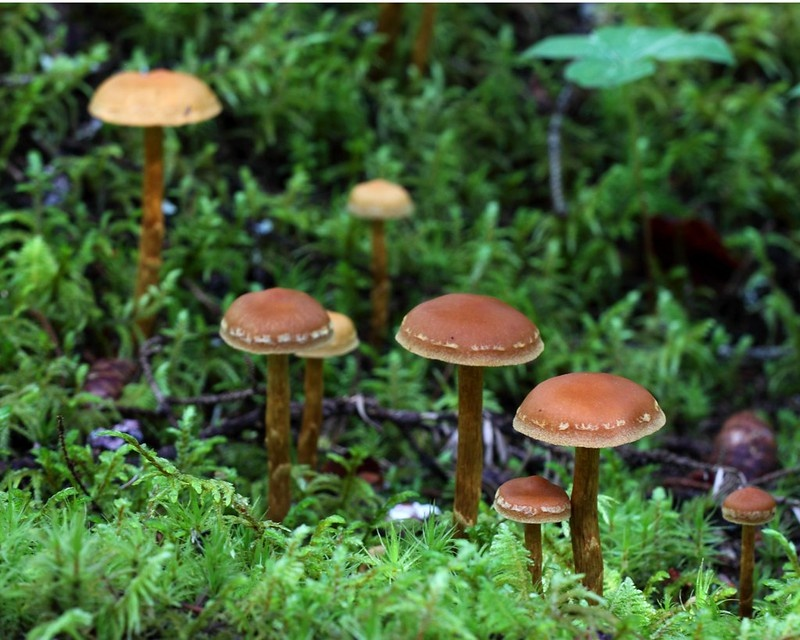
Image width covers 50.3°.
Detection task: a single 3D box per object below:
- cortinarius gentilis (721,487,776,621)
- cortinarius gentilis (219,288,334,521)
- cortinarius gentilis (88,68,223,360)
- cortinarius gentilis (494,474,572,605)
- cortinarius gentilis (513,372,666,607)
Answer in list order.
[{"bbox_3d":[1.318,0.885,3.297,0.178,0.526,0.372,11,34,23],"label":"cortinarius gentilis"},{"bbox_3d":[-0.442,0.323,3.390,0.402,0.915,0.334,-16,33,-20],"label":"cortinarius gentilis"},{"bbox_3d":[-0.971,-0.451,3.663,0.530,1.203,0.325,-5,31,-2],"label":"cortinarius gentilis"},{"bbox_3d":[0.490,0.793,3.127,0.249,0.435,0.286,-1,-1,30],"label":"cortinarius gentilis"},{"bbox_3d":[0.683,0.578,3.161,0.392,0.777,0.418,25,41,38],"label":"cortinarius gentilis"}]
